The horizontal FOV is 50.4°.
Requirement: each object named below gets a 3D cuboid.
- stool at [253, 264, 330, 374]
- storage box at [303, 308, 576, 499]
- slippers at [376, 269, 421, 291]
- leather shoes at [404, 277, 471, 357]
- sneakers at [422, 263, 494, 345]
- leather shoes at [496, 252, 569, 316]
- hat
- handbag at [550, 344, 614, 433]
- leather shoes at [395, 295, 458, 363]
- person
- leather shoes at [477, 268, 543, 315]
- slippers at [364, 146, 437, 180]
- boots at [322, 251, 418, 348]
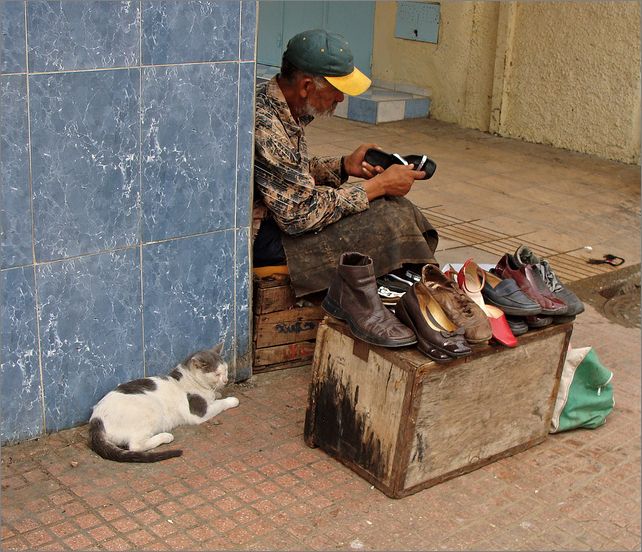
[{"bbox_3d":[-0.238,0.240,4.167,0.479,0.590,0.487,-15,28,-37],"label":"stool"},{"bbox_3d":[0.654,0.615,3.474,1.050,0.889,1.504,15,15,42],"label":"storage box"},{"bbox_3d":[0.423,0.021,3.775,0.164,0.062,0.131,16,30,33],"label":"slippers"},{"bbox_3d":[0.480,0.233,3.067,0.187,0.164,0.410,-24,66,-41],"label":"leather shoes"},{"bbox_3d":[0.630,0.136,3.147,0.237,0.290,0.492,-2,21,0],"label":"sneakers"},{"bbox_3d":[1.055,0.025,3.438,0.160,0.167,0.443,-5,33,-35],"label":"leather shoes"},{"bbox_3d":[0.084,-1.198,3.909,0.499,0.412,0.445,-10,21,-37],"label":"hat"},{"bbox_3d":[1.388,0.612,3.648,0.236,0.412,0.408,6,14,31],"label":"handbag"},{"bbox_3d":[0.507,0.209,3.025,0.179,0.144,0.363,-25,66,-44],"label":"leather shoes"},{"bbox_3d":[0.024,-0.552,3.995,0.992,1.636,0.989,-11,29,-31],"label":"person"},{"bbox_3d":[0.916,0.101,3.312,0.404,0.184,0.227,-2,18,-22],"label":"leather shoes"},{"bbox_3d":[0.488,-0.707,4.289,0.547,0.194,0.101,15,15,27],"label":"slippers"},{"bbox_3d":[0.214,0.104,3.127,0.227,0.299,0.554,-17,33,-35],"label":"boots"}]
